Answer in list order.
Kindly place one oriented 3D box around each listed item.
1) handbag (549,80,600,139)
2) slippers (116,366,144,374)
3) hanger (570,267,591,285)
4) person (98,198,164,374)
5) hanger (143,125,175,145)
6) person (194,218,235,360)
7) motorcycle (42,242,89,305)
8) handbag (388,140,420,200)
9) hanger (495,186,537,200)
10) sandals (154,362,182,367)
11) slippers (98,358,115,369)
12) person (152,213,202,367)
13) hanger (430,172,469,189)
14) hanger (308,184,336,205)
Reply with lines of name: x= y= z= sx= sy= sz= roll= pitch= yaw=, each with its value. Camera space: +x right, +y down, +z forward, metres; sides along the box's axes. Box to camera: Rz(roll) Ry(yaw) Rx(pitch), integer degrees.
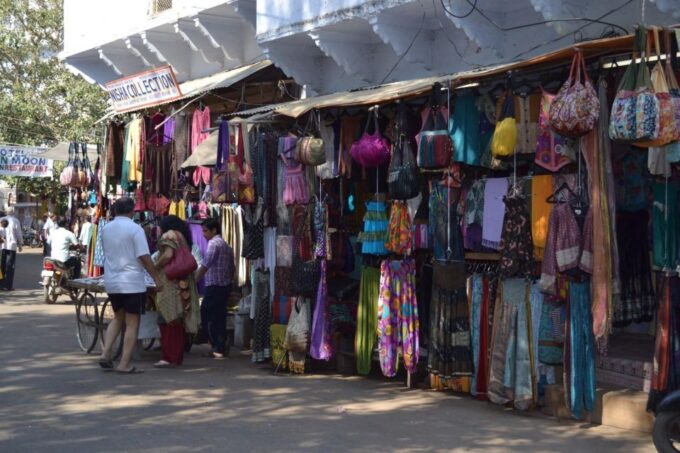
handbag: x=2.853 y=-1.444 z=10.193 sx=0.575 sy=0.651 sz=0.248 roll=2 pitch=6 yaw=20
slippers: x=-3.115 y=2.097 z=12.445 sx=0.347 sy=0.114 sz=0.143 roll=1 pitch=0 yaw=-23
hanger: x=3.020 y=0.616 z=10.557 sx=0.269 sy=0.212 sz=0.127 roll=2 pitch=6 yaw=17
person: x=-3.139 y=0.858 z=12.628 sx=0.809 sy=2.645 sz=0.908 roll=0 pitch=0 yaw=42
hanger: x=-3.485 y=-1.775 z=16.158 sx=0.340 sy=0.448 sz=0.045 roll=0 pitch=-1 yaw=-7
person: x=-2.107 y=1.006 z=13.755 sx=0.641 sy=2.253 sz=0.730 roll=-3 pitch=-6 yaw=33
motorcycle: x=-6.041 y=1.049 z=18.427 sx=0.522 sy=1.244 sz=1.494 roll=3 pitch=-10 yaw=0
handbag: x=0.879 y=-0.734 z=11.491 sx=0.430 sy=0.902 sz=0.366 roll=-2 pitch=-5 yaw=19
hanger: x=2.318 y=-0.430 z=11.035 sx=0.441 sy=0.148 sz=0.194 roll=3 pitch=6 yaw=21
sandals: x=-2.669 y=2.121 z=12.869 sx=0.329 sy=0.125 sz=0.147 roll=5 pitch=-6 yaw=-17
slippers: x=-3.472 y=2.079 z=12.535 sx=0.114 sy=0.103 sz=0.251 roll=0 pitch=-29 yaw=15
person: x=-2.528 y=0.969 z=12.897 sx=0.607 sy=2.261 sz=0.786 roll=0 pitch=-3 yaw=4
hanger: x=1.505 y=-0.699 z=11.611 sx=0.497 sy=0.296 sz=0.420 roll=5 pitch=7 yaw=36
hanger: x=-0.222 y=-0.511 z=12.816 sx=0.342 sy=0.385 sz=0.554 roll=2 pitch=6 yaw=17
